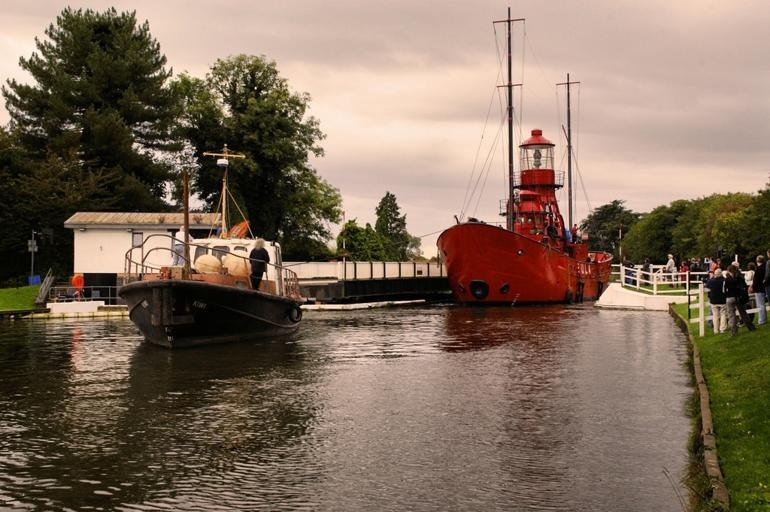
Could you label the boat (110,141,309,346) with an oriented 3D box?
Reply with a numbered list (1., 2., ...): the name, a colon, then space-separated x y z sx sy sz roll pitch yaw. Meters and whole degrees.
1. boat: -6.513 0.719 33.620 4.939 5.380 9.718 0 -5 0
